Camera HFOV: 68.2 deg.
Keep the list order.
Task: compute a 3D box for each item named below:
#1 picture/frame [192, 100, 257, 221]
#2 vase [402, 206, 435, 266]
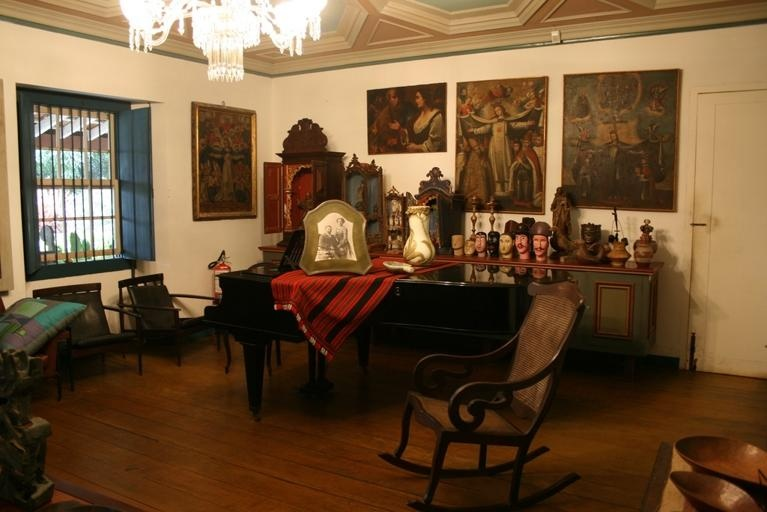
[{"bbox_3d":[-2.484,-1.439,8.817,0.321,1.807,1.327,7,15,28],"label":"picture/frame"},{"bbox_3d":[0.390,-0.225,6.159,0.319,0.662,0.348,2,14,10],"label":"vase"}]
